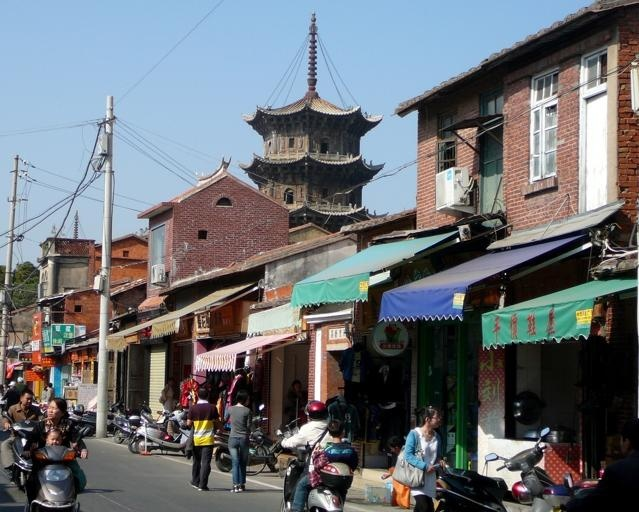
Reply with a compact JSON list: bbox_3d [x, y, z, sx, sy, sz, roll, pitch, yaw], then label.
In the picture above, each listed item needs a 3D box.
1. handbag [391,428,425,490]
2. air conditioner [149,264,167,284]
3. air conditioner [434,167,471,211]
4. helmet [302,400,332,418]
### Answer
[{"bbox_3d":[1.350,3.036,17.352,0.323,0.866,0.646,9,-18,-28],"label":"handbag"},{"bbox_3d":[-6.137,0.654,44.302,0.272,0.706,0.747,1,-3,-26],"label":"air conditioner"},{"bbox_3d":[2.757,-1.387,24.159,0.461,0.776,0.855,1,-5,-20],"label":"air conditioner"},{"bbox_3d":[-0.069,2.350,17.946,0.257,0.270,0.298,-17,35,-32],"label":"helmet"}]
